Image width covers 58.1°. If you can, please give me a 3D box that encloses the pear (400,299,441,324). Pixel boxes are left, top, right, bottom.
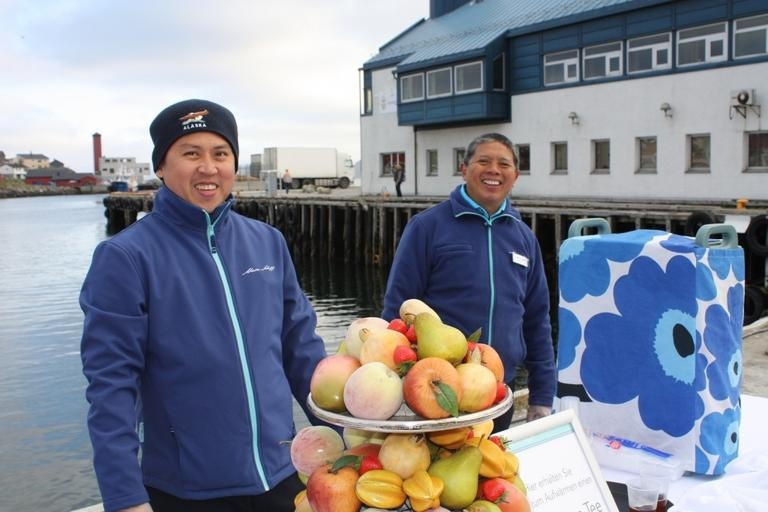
[{"bbox_3d":[0.176,0.260,3.324,0.173,0.103,0.100,25,-33,-27],"label":"pear"}]

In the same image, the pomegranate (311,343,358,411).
[{"bbox_3d":[-0.223,0.539,3.119,0.191,0.307,0.143,-1,-10,30],"label":"pomegranate"}]

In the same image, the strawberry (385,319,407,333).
[{"bbox_3d":[0.050,0.315,3.220,0.061,0.084,0.061,4,8,43],"label":"strawberry"}]

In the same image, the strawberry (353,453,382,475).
[{"bbox_3d":[-0.067,0.912,3.012,0.083,0.081,0.076,16,-29,-18],"label":"strawberry"}]

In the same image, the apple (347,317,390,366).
[{"bbox_3d":[-0.084,0.376,3.239,0.152,0.257,0.128,4,2,21],"label":"apple"}]

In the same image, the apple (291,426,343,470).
[{"bbox_3d":[-0.310,0.871,3.136,0.175,0.226,0.201,-1,1,0],"label":"apple"}]

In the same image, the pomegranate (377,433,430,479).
[{"bbox_3d":[0.098,0.865,3.094,0.174,0.198,0.221,28,-46,-8],"label":"pomegranate"}]

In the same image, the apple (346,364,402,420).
[{"bbox_3d":[-0.043,0.586,2.952,0.225,0.223,0.310,-3,6,16],"label":"apple"}]

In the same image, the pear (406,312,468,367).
[{"bbox_3d":[0.234,0.343,3.081,0.202,0.268,0.160,-1,-2,38],"label":"pear"}]

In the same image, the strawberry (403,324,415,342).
[{"bbox_3d":[0.120,0.359,3.223,0.053,0.087,0.058,1,5,15],"label":"strawberry"}]

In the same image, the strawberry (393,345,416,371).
[{"bbox_3d":[0.090,0.452,3.048,0.098,0.092,0.078,-4,-10,24],"label":"strawberry"}]

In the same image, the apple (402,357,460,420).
[{"bbox_3d":[0.197,0.571,2.975,0.214,0.268,0.190,4,0,-14],"label":"apple"}]
